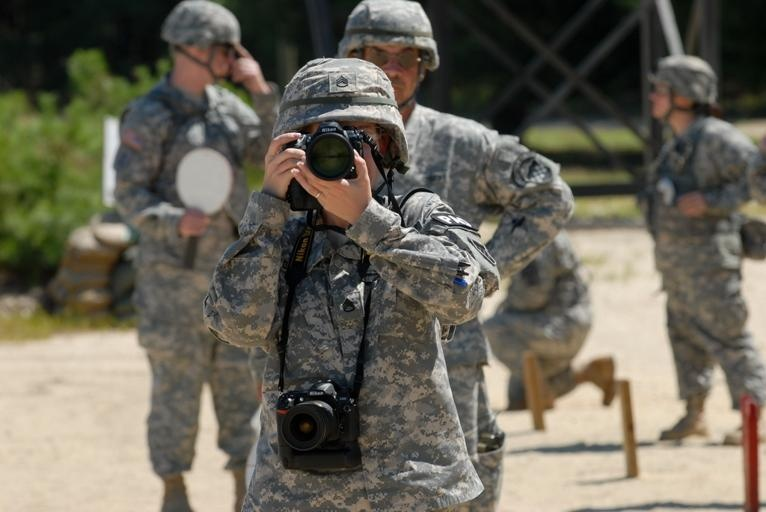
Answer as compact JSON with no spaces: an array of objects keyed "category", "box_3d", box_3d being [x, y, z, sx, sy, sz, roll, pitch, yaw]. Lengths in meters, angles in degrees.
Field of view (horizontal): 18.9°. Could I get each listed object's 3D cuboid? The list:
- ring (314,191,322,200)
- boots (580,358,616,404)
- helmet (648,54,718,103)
[{"category":"ring","box_3d":[-0.506,-0.502,19.434,0.049,0.067,0.019,-1,1,10]},{"category":"boots","box_3d":[2.084,1.215,22.014,0.252,0.453,0.532,-2,1,-36]},{"category":"helmet","box_3d":[2.694,-1.602,20.834,0.518,0.279,0.383,18,10,17]}]
